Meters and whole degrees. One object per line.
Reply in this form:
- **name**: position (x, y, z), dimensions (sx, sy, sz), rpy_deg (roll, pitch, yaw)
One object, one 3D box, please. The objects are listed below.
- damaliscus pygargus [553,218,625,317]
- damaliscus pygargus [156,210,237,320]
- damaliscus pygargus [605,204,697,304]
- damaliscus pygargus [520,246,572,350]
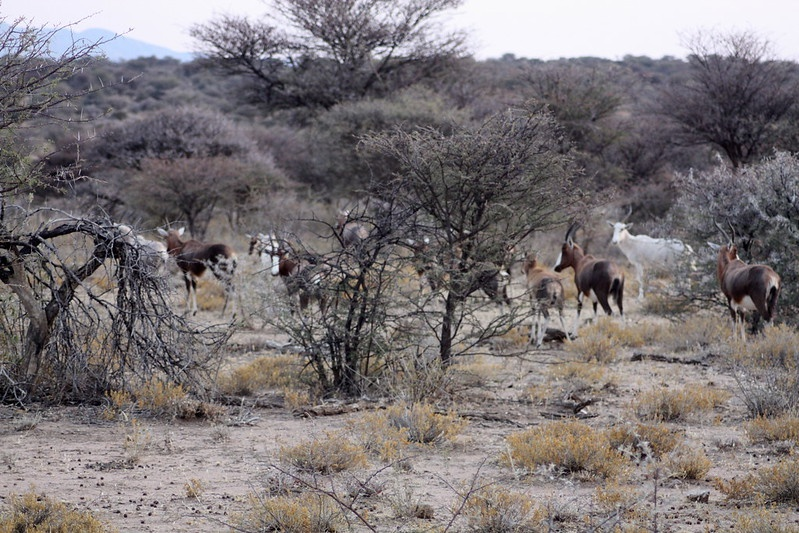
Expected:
- **damaliscus pygargus**: position (4.728, 0.312, 25.542), dimensions (0.756, 2.281, 2.751), rpy_deg (2, 5, -21)
- **damaliscus pygargus**: position (-5.626, 0.118, 28.209), dimensions (2.678, 2.240, 0.914), rpy_deg (3, 4, 28)
- **damaliscus pygargus**: position (7.276, -0.176, 29.508), dimensions (2.602, 2.103, 0.728), rpy_deg (3, 5, 29)
- **damaliscus pygargus**: position (3.392, 0.771, 24.732), dimensions (0.538, 2.010, 2.323), rpy_deg (1, 2, -13)
